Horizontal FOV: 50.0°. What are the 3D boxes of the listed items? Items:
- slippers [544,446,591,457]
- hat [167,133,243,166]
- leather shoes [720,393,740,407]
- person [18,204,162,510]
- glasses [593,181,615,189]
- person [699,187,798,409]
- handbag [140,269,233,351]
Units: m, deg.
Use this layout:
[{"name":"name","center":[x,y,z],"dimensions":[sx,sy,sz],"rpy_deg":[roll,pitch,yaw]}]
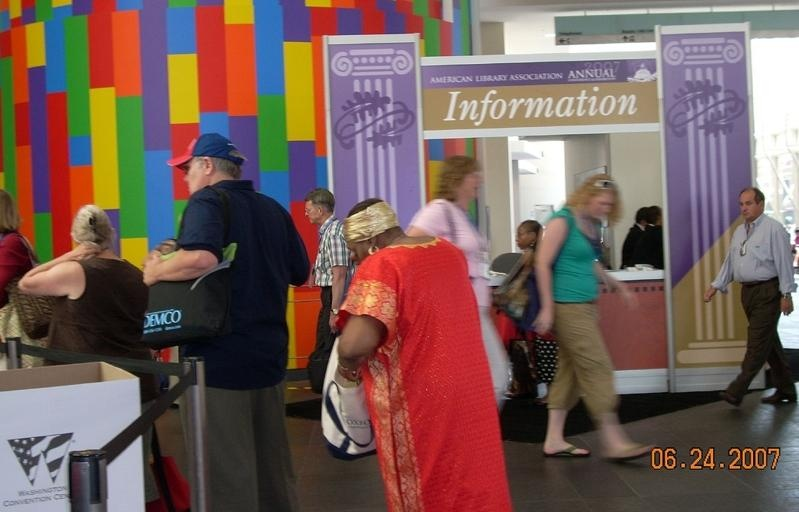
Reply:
[{"name":"slippers","center":[1.323,1.549,6.815],"dimensions":[0.302,0.075,0.124],"rpy_deg":[-2,-2,6]},{"name":"hat","center":[-1.262,-0.685,5.442],"dimensions":[0.458,0.152,0.275],"rpy_deg":[-9,6,10]},{"name":"leather shoes","center":[2.998,1.306,7.871],"dimensions":[0.120,0.063,0.164],"rpy_deg":[29,-12,-19]},{"name":"person","center":[-2.021,0.670,5.719],"dimensions":[0.772,1.975,0.567],"rpy_deg":[-4,12,-7]},{"name":"glasses","center":[1.517,-0.545,6.423],"dimensions":[0.088,0.046,0.084],"rpy_deg":[1,-3,-17]},{"name":"person","center":[3.316,0.385,8.050],"dimensions":[0.789,2.025,0.771],"rpy_deg":[-3,12,-5]},{"name":"handbag","center":[-1.339,0.282,5.265],"dimensions":[0.578,0.577,0.332],"rpy_deg":[-25,-26,35]}]
